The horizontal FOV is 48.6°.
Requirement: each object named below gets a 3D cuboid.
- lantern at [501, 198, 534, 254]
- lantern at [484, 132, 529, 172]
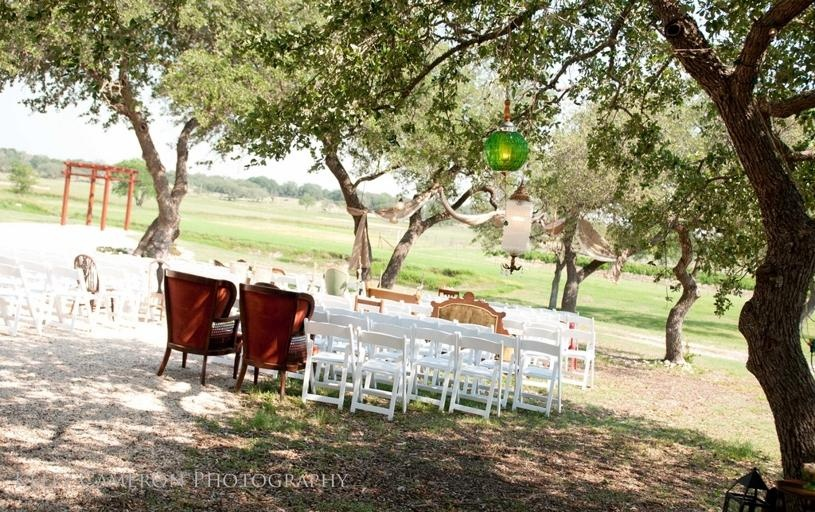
[{"bbox_3d":[2.286,-0.589,18.803,0.549,1.051,0.613,6,-2,3],"label":"lantern"},{"bbox_3d":[1.687,-1.736,15.686,0.680,0.760,0.683,1,0,-32],"label":"lantern"}]
